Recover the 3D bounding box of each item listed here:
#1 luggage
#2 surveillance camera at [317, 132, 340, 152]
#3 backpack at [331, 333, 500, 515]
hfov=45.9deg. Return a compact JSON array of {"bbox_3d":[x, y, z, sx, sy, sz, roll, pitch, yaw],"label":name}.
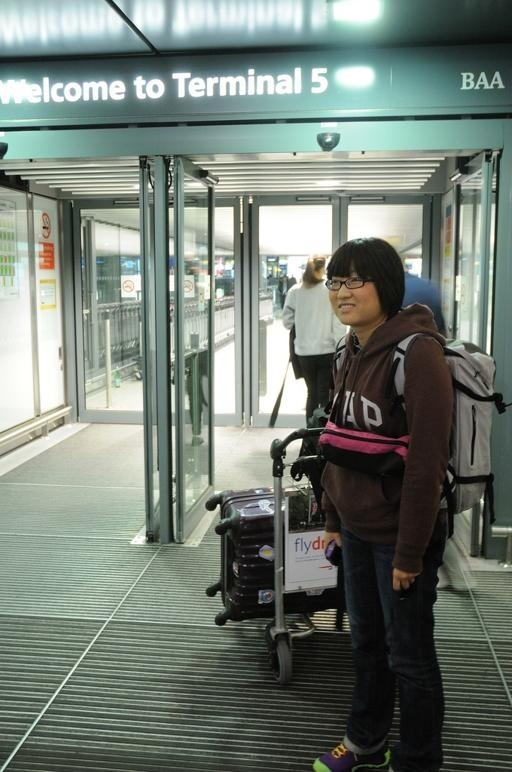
[{"bbox_3d":[0.082,0.818,2.932,0.674,0.524,0.402,-1,7,-23],"label":"luggage"},{"bbox_3d":[0.458,-1.540,3.800,0.111,0.110,0.118,7,18,13],"label":"surveillance camera"},{"bbox_3d":[0.432,0.074,1.669,0.439,0.488,0.312,-6,11,-13],"label":"backpack"}]
